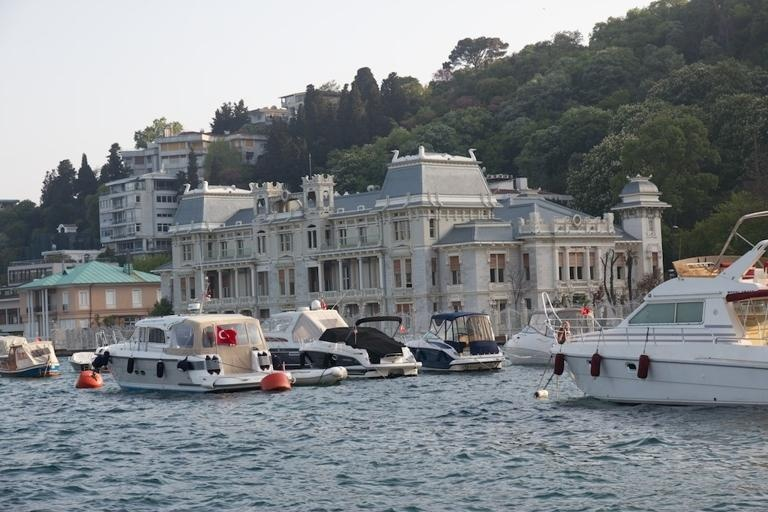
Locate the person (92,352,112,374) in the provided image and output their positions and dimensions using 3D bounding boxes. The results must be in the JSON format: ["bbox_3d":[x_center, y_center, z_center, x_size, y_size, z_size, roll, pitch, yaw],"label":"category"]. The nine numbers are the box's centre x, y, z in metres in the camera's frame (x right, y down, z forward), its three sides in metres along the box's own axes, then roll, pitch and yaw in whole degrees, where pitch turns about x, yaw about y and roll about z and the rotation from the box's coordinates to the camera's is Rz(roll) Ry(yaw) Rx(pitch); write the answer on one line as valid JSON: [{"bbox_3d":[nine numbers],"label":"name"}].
[{"bbox_3d":[-18.131,6.738,98.450,0.847,1.304,3.289,-7,0,-32],"label":"person"}]

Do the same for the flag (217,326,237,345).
[{"bbox_3d":[-9.619,4.837,93.192,1.089,1.006,0.154,2,-7,-21],"label":"flag"}]
